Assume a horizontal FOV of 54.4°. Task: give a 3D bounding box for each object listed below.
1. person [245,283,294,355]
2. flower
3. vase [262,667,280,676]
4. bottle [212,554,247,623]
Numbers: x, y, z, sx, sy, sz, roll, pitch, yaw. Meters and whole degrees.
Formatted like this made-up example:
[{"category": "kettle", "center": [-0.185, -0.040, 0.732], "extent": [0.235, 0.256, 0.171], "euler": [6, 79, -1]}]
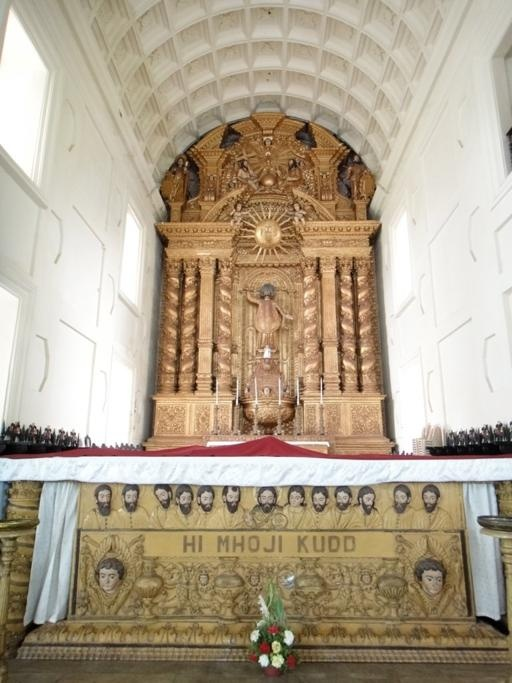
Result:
[{"category": "person", "center": [0.263, -0.427, 10.423], "extent": [0.931, 1.644, 0.511], "euler": [-1, -16, -1]}, {"category": "flower", "center": [0.093, 1.459, 2.540], "extent": [0.246, 0.384, 0.265], "euler": [-1, -15, -1]}, {"category": "vase", "center": [0.072, 1.602, 2.432], "extent": [0.059, 0.036, 0.058], "euler": [10, -12, -41]}, {"category": "bottle", "center": [-0.157, 1.411, 2.847], "extent": [0.231, 0.366, 0.222], "euler": [-1, -23, -1]}]
